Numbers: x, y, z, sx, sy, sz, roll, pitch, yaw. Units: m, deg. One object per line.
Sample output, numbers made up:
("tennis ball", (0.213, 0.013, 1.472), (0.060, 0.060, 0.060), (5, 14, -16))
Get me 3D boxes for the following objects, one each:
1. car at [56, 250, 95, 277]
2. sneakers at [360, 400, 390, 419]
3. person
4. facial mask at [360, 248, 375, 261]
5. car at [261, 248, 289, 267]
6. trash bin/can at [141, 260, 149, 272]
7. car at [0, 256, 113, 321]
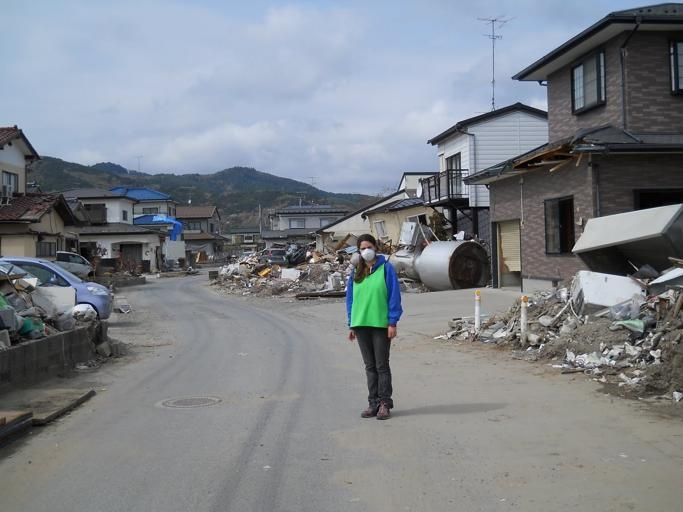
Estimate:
("car", (-15.389, 0.533, 32.224), (2.294, 1.129, 1.333), (4, 8, -41))
("sneakers", (0.451, 2.070, 7.378), (0.201, 0.128, 0.334), (-7, -17, 34))
("person", (0.448, 0.928, 7.537), (0.669, 2.443, 0.714), (-3, 4, -11))
("facial mask", (0.338, -0.009, 7.490), (0.164, 0.108, 0.167), (-1, 6, 8))
("car", (-5.311, 0.095, 44.505), (1.328, 0.855, 2.663), (-1, 7, -13))
("trash bin/can", (-18.600, 1.009, 53.056), (0.712, 1.145, 0.649), (-3, 4, -23))
("car", (-7.768, 0.911, 15.953), (3.037, 1.346, 1.740), (0, 3, -17))
